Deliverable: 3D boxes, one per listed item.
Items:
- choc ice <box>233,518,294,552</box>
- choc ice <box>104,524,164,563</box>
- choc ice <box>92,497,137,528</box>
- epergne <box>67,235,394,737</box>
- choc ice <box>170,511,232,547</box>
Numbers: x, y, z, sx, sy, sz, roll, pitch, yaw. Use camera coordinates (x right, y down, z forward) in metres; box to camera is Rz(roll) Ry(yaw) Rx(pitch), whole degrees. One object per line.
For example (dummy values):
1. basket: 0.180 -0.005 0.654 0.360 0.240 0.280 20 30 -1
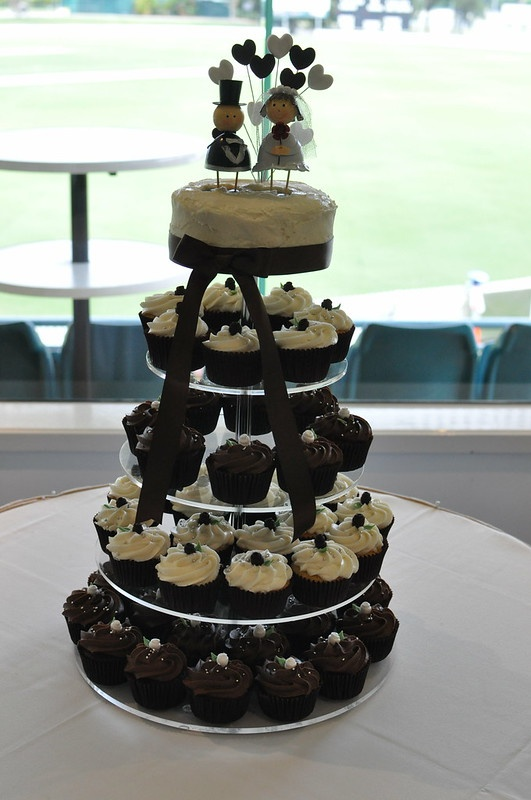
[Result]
1. choc ice: 0.000 0.269 1.499 0.102 0.043 0.102 1 9 0
2. choc ice: -0.240 0.271 1.467 0.084 0.027 0.081 -9 17 -39
3. choc ice: -0.308 0.233 1.567 0.078 0.030 0.071 1 19 9
4. epergne: -0.041 0.132 1.593 0.848 0.761 0.786 0 20 -1
5. choc ice: -0.121 0.251 1.525 0.089 0.038 0.082 2 10 -2
